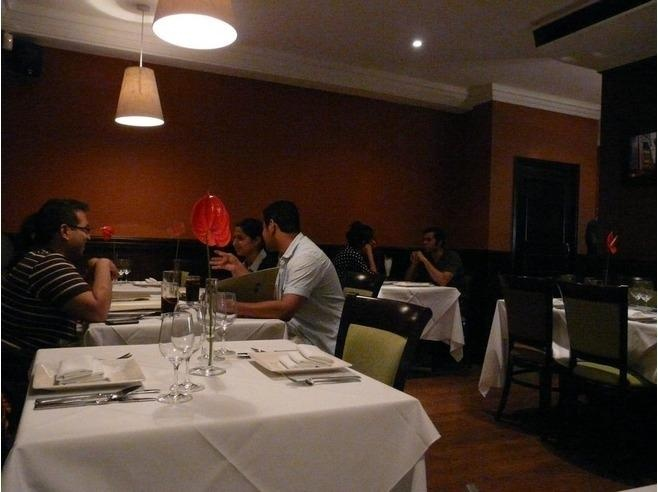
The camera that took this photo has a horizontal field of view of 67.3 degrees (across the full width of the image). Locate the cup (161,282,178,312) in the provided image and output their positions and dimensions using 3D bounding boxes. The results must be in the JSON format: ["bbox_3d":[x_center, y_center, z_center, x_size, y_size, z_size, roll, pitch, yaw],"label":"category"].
[{"bbox_3d":[-0.741,0.247,2.303,0.070,0.145,0.114,0,10,-18],"label":"cup"}]

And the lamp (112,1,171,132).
[{"bbox_3d":[-1.440,-1.402,3.812,0.411,0.977,1.582,-1,10,-22],"label":"lamp"}]

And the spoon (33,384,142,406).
[{"bbox_3d":[-0.674,0.427,1.404,0.283,0.040,0.077,3,24,-27],"label":"spoon"}]

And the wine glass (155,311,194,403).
[{"bbox_3d":[-0.465,0.311,1.501,0.097,0.258,0.270,0,10,-17],"label":"wine glass"}]

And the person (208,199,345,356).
[{"bbox_3d":[-0.173,0.226,3.018,0.782,1.237,0.635,2,-10,0],"label":"person"}]
